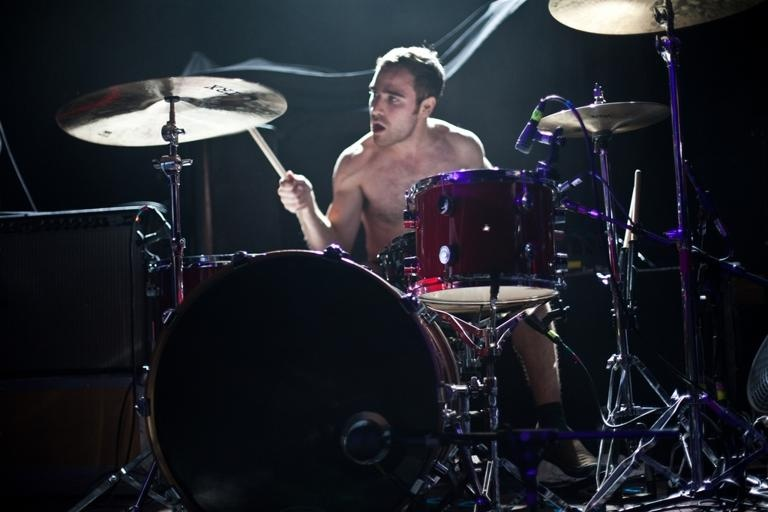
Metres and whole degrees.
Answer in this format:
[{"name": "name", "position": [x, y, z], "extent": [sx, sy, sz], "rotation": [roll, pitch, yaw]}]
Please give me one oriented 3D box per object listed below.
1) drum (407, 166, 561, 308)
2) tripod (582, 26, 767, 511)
[{"name": "drum", "position": [0.497, 0.001, 4.469], "extent": [0.708, 0.537, 0.715], "rotation": [-1, -10, 0]}, {"name": "tripod", "position": [1.599, -0.031, 4.697], "extent": [0.948, 2.704, 0.652], "rotation": [5, -13, -38]}]
